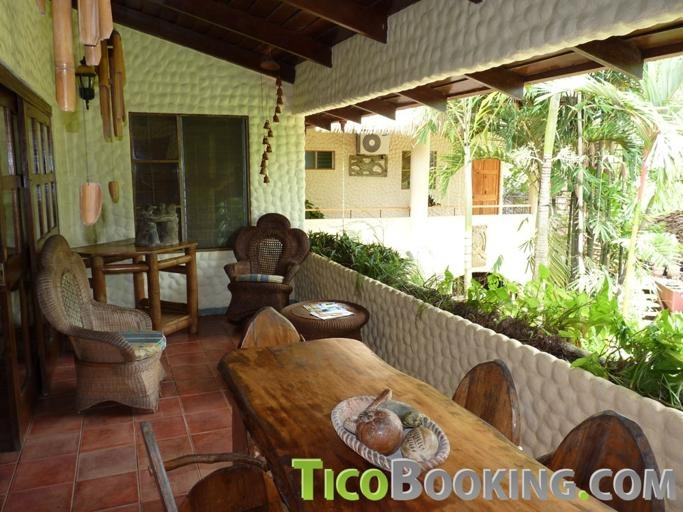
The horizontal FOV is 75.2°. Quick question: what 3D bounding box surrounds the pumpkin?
[{"bbox_3d":[0.198,0.658,1.777,0.340,0.147,0.395,-3,12,-11],"label":"pumpkin"}]
